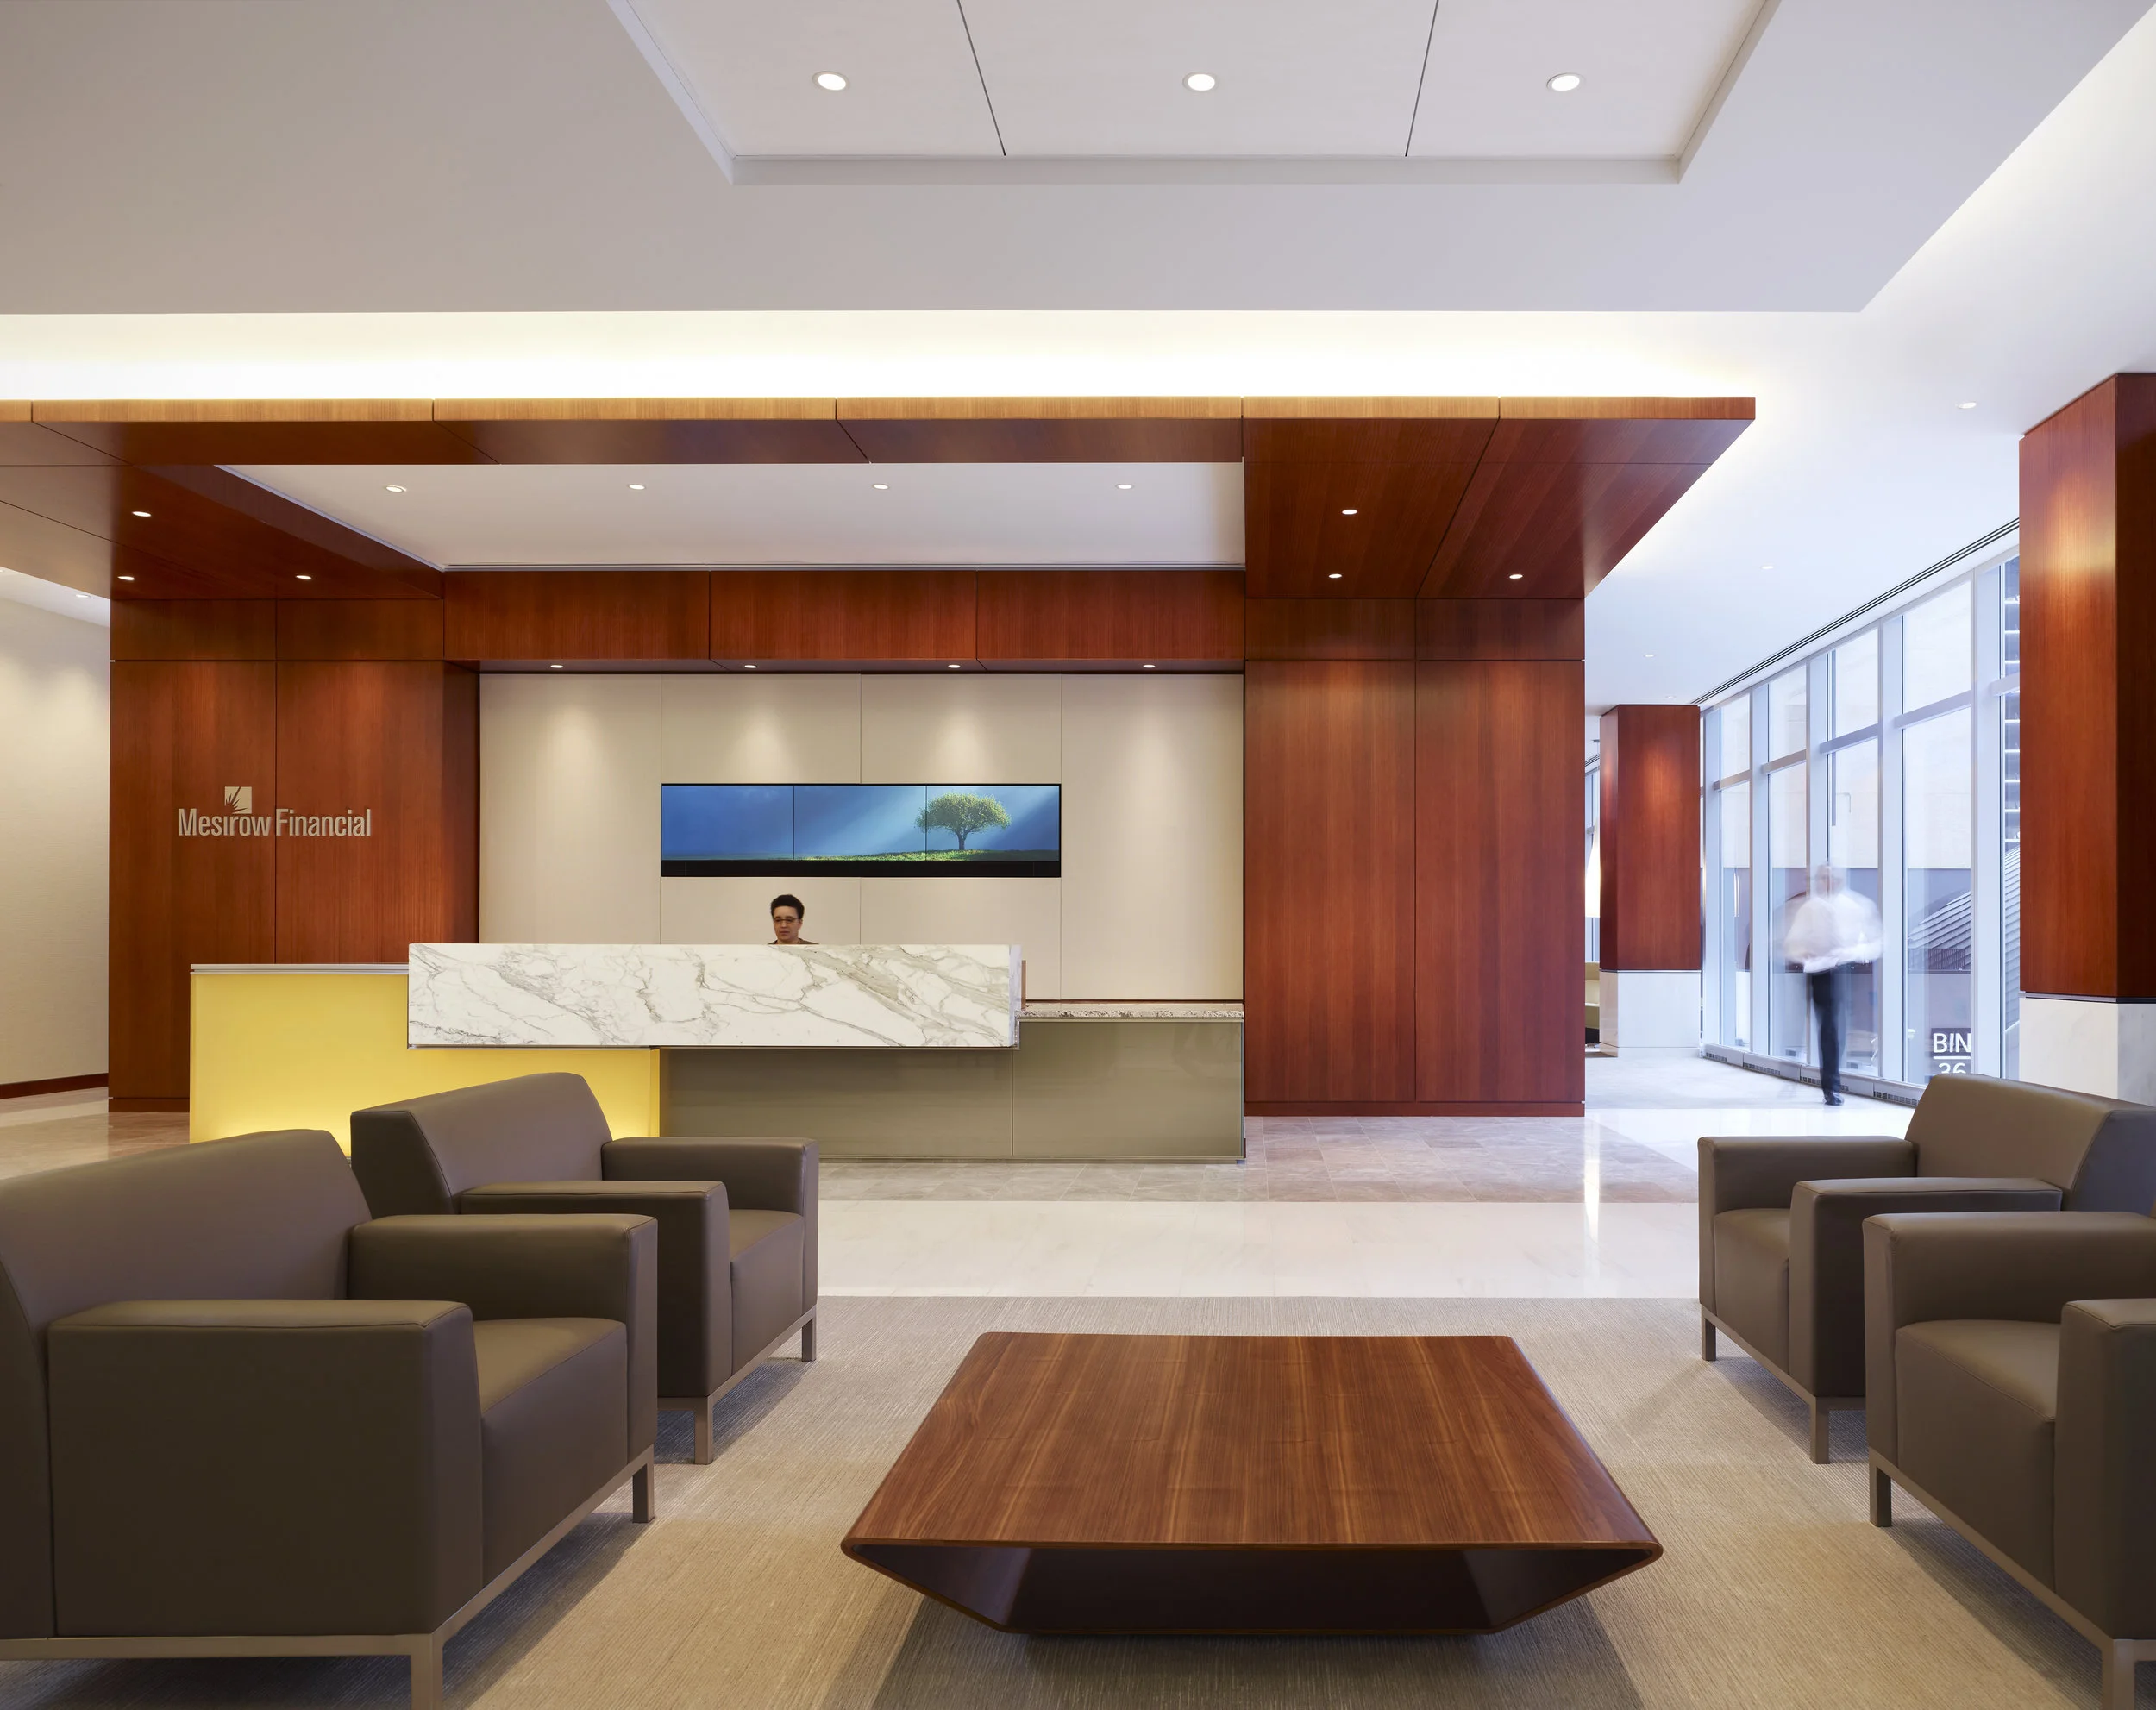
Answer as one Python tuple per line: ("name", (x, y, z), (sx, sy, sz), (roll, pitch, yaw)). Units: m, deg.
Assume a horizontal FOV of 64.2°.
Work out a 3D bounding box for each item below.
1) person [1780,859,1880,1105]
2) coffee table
("person", (5.304, 0.943, 12.024), (0.449, 1.419, 0.647), (0, 4, 4))
("coffee table", (0.403, 1.597, 4.222), (1.689, 0.434, 1.116), (0, 4, 1))
